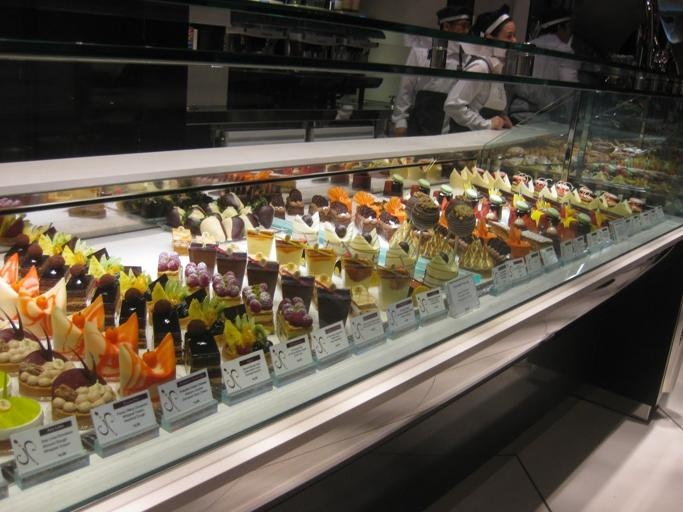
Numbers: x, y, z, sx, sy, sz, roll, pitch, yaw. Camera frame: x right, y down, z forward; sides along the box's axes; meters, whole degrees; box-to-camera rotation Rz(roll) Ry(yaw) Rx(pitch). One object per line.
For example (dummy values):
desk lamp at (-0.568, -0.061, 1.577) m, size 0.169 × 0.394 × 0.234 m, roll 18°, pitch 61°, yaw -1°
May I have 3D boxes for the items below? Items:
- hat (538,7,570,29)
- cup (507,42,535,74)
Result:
hat at (1.899, -2.078, 3.980) m, size 0.274 × 0.083 × 0.205 m, roll -11°, pitch 23°, yaw 6°
cup at (0.592, -0.649, 1.494) m, size 0.076 × 0.087 × 0.078 m, roll -1°, pitch 35°, yaw 1°
